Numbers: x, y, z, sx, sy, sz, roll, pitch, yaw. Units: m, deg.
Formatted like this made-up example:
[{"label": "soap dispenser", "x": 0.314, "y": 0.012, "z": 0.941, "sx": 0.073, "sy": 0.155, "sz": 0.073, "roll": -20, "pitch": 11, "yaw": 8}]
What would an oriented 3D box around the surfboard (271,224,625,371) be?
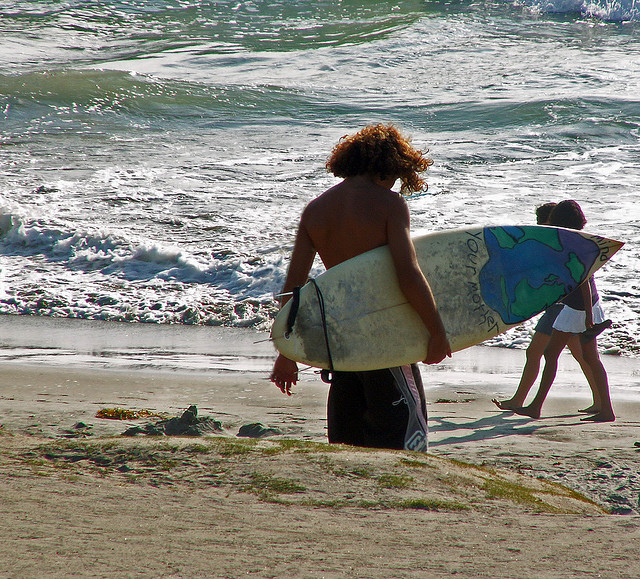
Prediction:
[{"label": "surfboard", "x": 1.661, "y": 0.001, "z": 16.561, "sx": 4.950, "sy": 1.143, "sz": 0.461, "roll": -9, "pitch": 1, "yaw": -21}]
